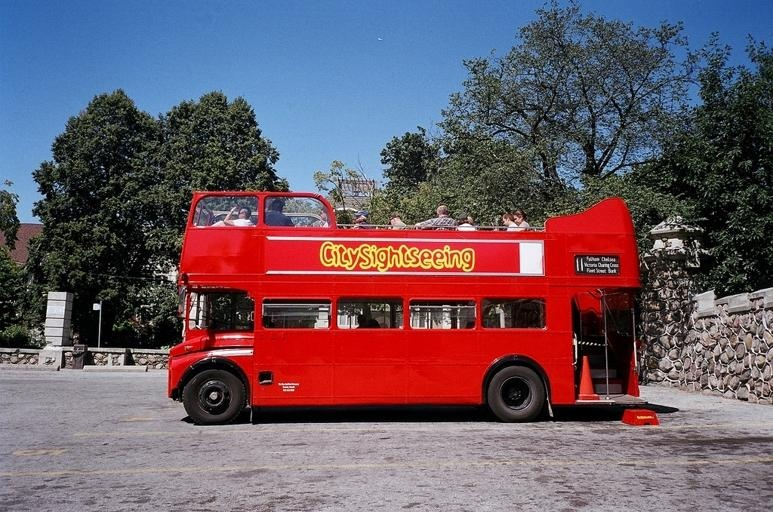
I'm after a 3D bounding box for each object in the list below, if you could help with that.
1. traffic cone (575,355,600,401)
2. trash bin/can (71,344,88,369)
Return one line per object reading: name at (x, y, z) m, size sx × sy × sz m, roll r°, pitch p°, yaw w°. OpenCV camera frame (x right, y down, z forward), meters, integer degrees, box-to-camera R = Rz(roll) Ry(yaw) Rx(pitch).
traffic cone at (5.372, 3.283, 16.595) m, size 0.769 × 1.052 × 0.913 m, roll -4°, pitch -7°, yaw 35°
trash bin/can at (-15.259, 5.024, 30.703) m, size 0.791 × 1.098 × 0.576 m, roll 0°, pitch 1°, yaw 33°
